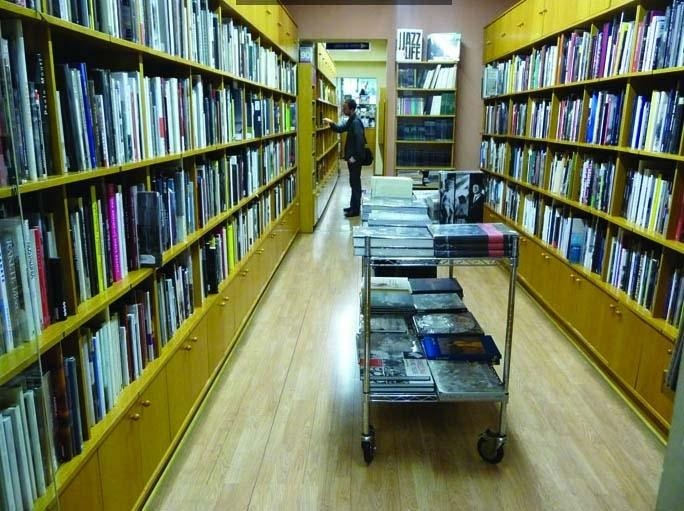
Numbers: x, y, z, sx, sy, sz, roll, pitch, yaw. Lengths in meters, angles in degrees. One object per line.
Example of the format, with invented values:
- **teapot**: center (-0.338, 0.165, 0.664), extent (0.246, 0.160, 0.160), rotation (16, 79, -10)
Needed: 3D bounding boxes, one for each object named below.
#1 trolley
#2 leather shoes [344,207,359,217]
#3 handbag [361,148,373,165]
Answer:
- **trolley**: center (0.537, 0.304, 3.633), extent (0.683, 1.308, 1.930), rotation (0, 12, 2)
- **leather shoes**: center (0.142, -0.663, 8.488), extent (0.287, 0.132, 0.096), rotation (1, 15, -10)
- **handbag**: center (0.387, -1.467, 8.196), extent (0.231, 0.297, 0.286), rotation (2, 8, 7)
